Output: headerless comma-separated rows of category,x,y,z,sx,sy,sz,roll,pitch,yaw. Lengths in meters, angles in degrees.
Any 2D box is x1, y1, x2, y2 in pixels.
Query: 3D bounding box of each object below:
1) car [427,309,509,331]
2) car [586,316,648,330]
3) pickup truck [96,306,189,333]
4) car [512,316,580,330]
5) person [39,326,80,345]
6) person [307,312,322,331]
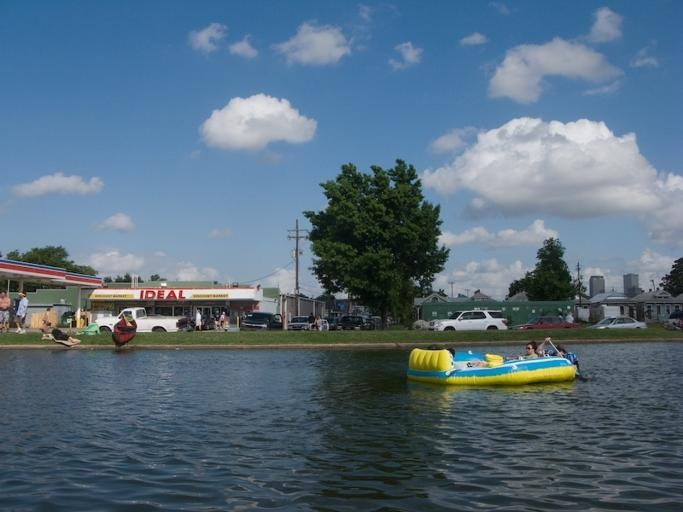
car,8.877,4.548,49.662,4.728,1.479,1.978,2,-6,-6
car,20.173,4.782,51.261,4.988,0.914,1.996,3,-9,-34
pickup truck,-13.341,4.121,46.292,4.854,1.454,2.021,1,-5,-4
car,14.656,4.720,50.744,4.679,0.939,2.454,4,-10,-39
person,-15.519,4.374,38.277,1.827,0.459,1.221,13,0,7
person,-2.371,5.061,53.963,1.367,1.178,0.992,-4,-6,21
